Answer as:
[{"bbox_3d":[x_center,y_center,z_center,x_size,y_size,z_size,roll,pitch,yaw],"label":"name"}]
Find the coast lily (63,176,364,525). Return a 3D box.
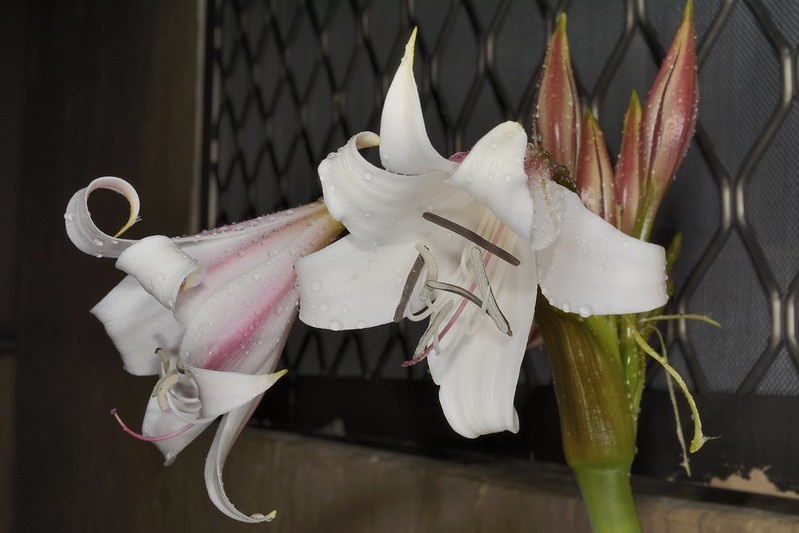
[{"bbox_3d":[-0.280,0.098,1.739,0.672,0.365,0.615,4,49,-3],"label":"coast lily"}]
